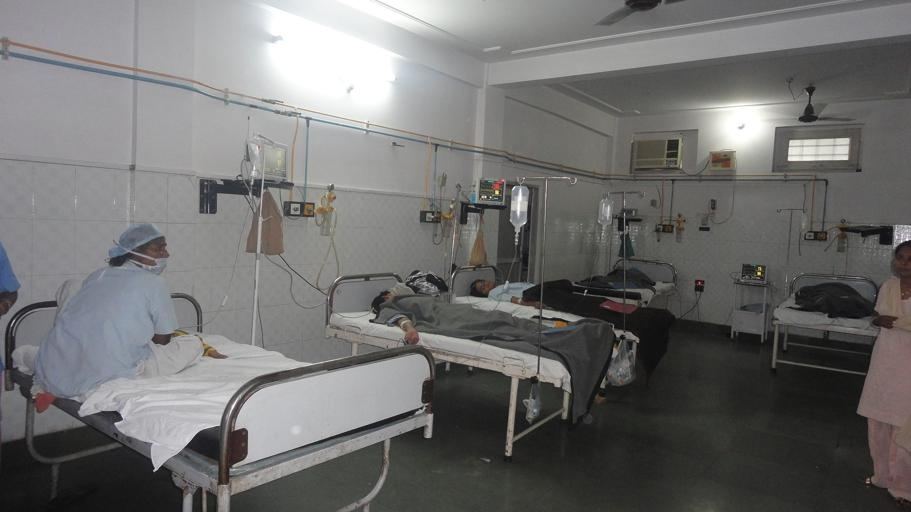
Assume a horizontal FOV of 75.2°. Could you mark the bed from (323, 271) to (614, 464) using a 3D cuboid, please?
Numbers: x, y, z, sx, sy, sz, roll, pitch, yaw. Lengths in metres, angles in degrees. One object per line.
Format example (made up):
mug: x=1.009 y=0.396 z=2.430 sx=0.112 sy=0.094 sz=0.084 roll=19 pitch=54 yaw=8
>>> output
bed: x=0.059 y=0.904 z=7.178 sx=3.175 sy=1.417 sz=1.917 roll=9 pitch=13 yaw=36

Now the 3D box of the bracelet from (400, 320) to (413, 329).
bracelet: x=-0.577 y=0.792 z=6.922 sx=0.108 sy=0.089 sz=0.100 roll=1 pitch=4 yaw=8

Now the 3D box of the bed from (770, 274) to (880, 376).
bed: x=5.766 y=0.971 z=9.161 sx=1.438 sy=1.209 sz=2.089 roll=2 pitch=8 yaw=31

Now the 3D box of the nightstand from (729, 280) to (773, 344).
nightstand: x=5.256 y=0.908 z=10.485 sx=0.649 sy=1.011 sz=0.953 roll=6 pitch=7 yaw=27

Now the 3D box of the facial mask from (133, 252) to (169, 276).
facial mask: x=-2.933 y=0.086 z=5.709 sx=0.235 sy=0.124 sz=0.177 roll=9 pitch=2 yaw=-29

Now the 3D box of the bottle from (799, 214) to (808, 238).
bottle: x=6.181 y=-0.540 z=10.462 sx=0.139 sy=0.438 sz=0.070 roll=6 pitch=8 yaw=25

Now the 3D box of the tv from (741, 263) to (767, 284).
tv: x=5.262 y=0.307 z=10.426 sx=0.479 sy=0.297 sz=0.329 roll=4 pitch=4 yaw=32

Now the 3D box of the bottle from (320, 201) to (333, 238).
bottle: x=-1.609 y=-0.442 z=7.475 sx=0.115 sy=0.384 sz=0.263 roll=7 pitch=8 yaw=28

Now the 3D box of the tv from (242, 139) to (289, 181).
tv: x=-2.190 y=-1.087 z=6.756 sx=0.336 sy=0.468 sz=0.608 roll=0 pitch=1 yaw=27

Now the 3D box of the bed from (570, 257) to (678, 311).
bed: x=3.149 y=0.455 z=10.294 sx=1.179 sy=0.675 sz=1.818 roll=3 pitch=5 yaw=36

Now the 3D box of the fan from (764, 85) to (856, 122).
fan: x=6.064 y=-2.440 z=10.007 sx=1.580 sy=0.627 sz=0.542 roll=5 pitch=-7 yaw=-29
